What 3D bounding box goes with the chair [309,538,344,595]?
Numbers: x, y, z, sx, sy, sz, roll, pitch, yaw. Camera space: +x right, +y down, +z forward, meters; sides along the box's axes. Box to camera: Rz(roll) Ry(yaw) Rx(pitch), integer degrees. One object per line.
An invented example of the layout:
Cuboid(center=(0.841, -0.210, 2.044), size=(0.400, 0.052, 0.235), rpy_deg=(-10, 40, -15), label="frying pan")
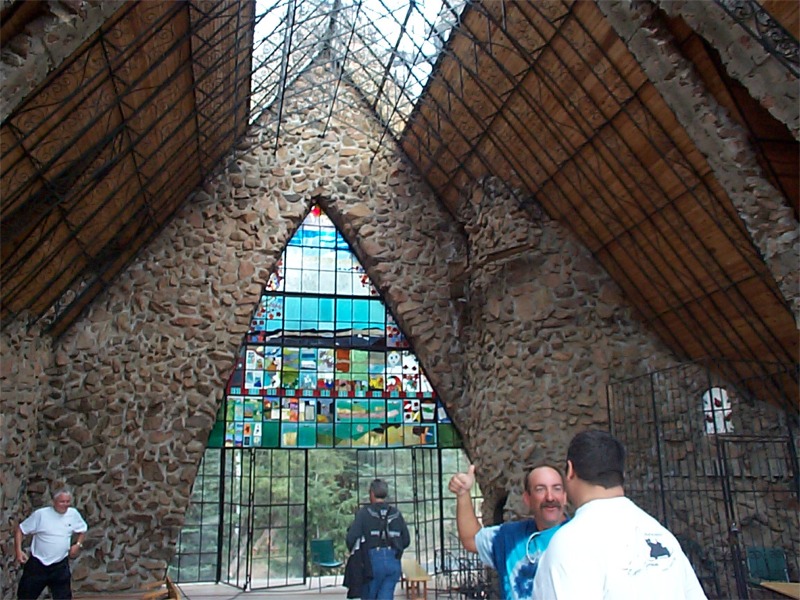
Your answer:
Cuboid(center=(-1.731, 6.171, 14.723), size=(0.686, 1.118, 0.734), rpy_deg=(10, -26, -28), label="chair")
